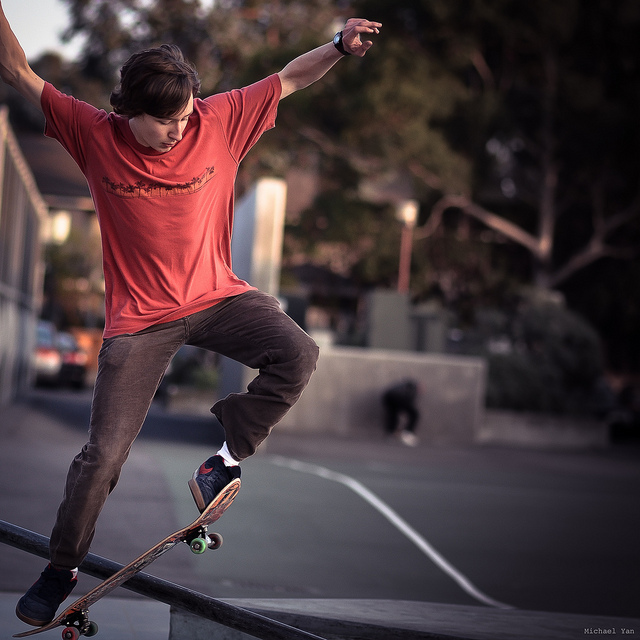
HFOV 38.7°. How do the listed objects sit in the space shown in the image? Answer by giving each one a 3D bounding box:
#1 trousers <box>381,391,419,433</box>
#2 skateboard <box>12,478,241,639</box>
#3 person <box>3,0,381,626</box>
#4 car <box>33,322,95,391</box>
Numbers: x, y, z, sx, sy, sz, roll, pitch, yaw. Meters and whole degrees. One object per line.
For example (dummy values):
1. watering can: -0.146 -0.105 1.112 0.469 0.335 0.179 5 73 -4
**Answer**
1. trousers: 0.493 0.564 5.719 0.199 0.252 0.264 4 -13 -10
2. skateboard: -0.972 1.227 4.621 0.220 1.290 0.271 53 -8 24
3. person: -0.673 -0.036 3.834 1.313 2.270 0.597 9 -3 -26
4. car: -5.226 0.729 18.373 1.184 0.956 2.118 1 3 -20
